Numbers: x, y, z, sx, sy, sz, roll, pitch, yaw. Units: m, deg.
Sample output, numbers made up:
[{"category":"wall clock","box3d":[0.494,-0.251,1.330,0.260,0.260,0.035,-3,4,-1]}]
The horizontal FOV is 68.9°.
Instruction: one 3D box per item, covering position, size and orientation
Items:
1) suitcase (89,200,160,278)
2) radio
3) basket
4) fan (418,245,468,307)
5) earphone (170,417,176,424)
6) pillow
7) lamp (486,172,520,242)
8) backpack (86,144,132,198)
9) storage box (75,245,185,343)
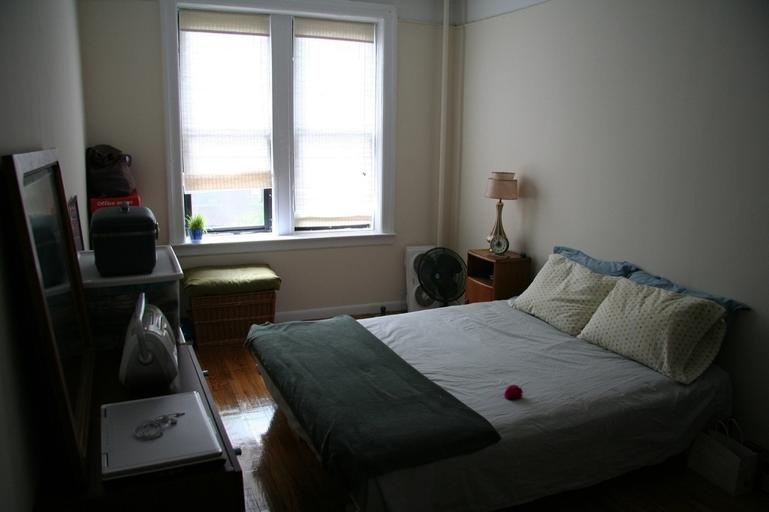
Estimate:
[{"category":"suitcase","box3d":[-1.387,-0.064,2.991,0.305,0.317,0.164,-7,16,-15]},{"category":"radio","box3d":[-1.172,0.373,2.747,0.265,0.348,0.492,-5,17,-19]},{"category":"basket","box3d":[-1.391,0.327,5.036,0.840,0.623,0.471,-3,11,-15]},{"category":"fan","box3d":[0.526,0.160,5.419,0.426,0.569,0.377,-3,14,-22]},{"category":"earphone","box3d":[-0.876,0.673,2.305,0.017,0.018,0.025,5,3,-20]},{"category":"pillow","box3d":[1.688,0.374,3.892,0.651,0.435,1.550,-24,25,-18]},{"category":"lamp","box3d":[1.097,-0.469,5.122,0.279,0.608,0.464,1,16,14]},{"category":"backpack","box3d":[-2.311,-0.677,4.755,0.278,0.518,0.348,-3,11,-19]},{"category":"storage box","box3d":[-1.360,0.153,3.189,0.487,0.543,0.614,-4,14,-21]}]
